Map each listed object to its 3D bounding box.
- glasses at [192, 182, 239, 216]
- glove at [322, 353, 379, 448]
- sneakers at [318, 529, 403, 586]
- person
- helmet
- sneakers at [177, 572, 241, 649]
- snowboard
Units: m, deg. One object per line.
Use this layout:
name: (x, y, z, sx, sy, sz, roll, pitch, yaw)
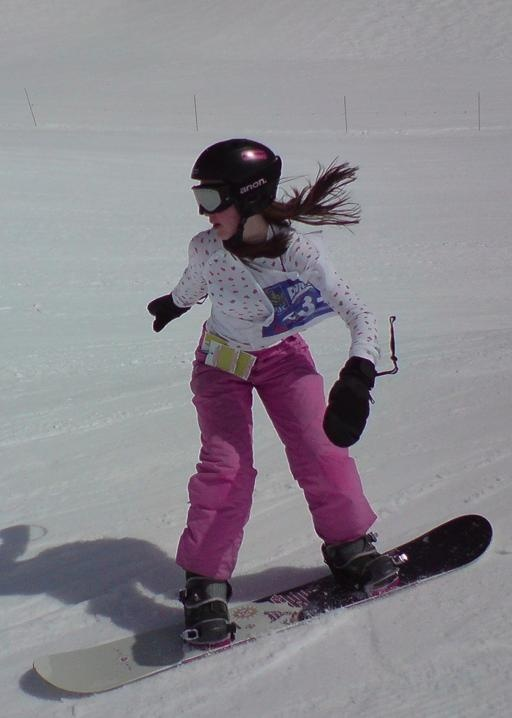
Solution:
glasses: (-0.127, -0.494, 2.113, 0.111, 0.055, 0.108, -18, 28, -40)
glove: (0.274, 0.133, 2.002, 0.163, 0.269, 0.153, -5, 10, 8)
sneakers: (0.347, 0.690, 2.332, 0.163, 0.084, 0.250, -30, 20, -28)
person: (0.044, 0.067, 2.287, 0.719, 1.564, 0.721, -5, 10, 6)
helmet: (-0.068, -0.620, 2.147, 0.287, 0.158, 0.186, -5, 9, 0)
sneakers: (-0.157, 0.792, 2.149, 0.166, 0.192, 0.159, -7, 9, -5)
snowboard: (0.045, 0.832, 2.273, 1.303, 0.086, 0.177, -14, 20, -18)
